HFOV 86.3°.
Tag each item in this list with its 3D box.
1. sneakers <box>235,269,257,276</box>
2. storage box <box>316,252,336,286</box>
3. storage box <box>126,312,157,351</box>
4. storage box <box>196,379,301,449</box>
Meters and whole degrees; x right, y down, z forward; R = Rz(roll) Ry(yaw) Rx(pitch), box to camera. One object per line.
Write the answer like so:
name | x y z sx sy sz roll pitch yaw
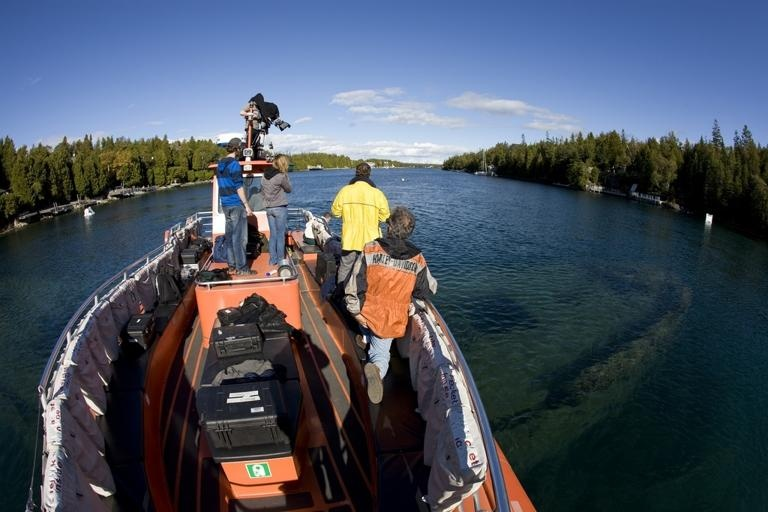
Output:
sneakers | -3.684 0.433 10.967 0.557 0.243 0.204 -5 16 -22
storage box | -1.563 0.378 11.145 0.357 0.629 0.728 -2 30 -22
storage box | -5.509 1.570 9.274 0.384 0.478 0.676 1 -3 -26
storage box | -2.492 2.967 7.263 1.426 1.003 0.911 -1 25 -27
